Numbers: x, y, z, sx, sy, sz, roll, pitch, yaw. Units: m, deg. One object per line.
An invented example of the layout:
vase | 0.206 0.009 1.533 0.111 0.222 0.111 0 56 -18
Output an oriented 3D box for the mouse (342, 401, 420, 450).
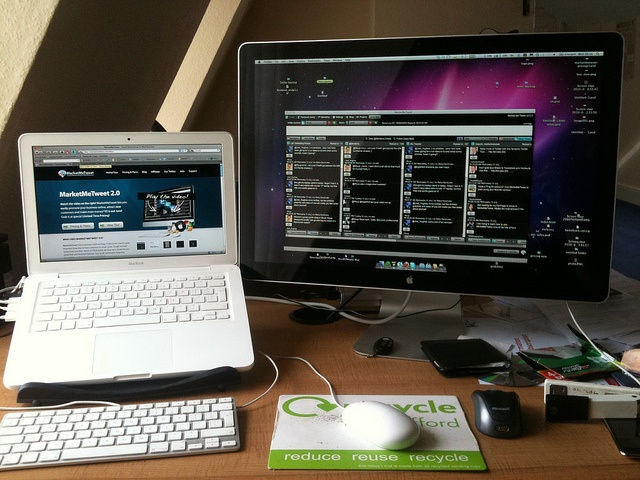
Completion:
mouse | 0.118 0.297 0.818 0.068 0.029 0.094 -13 5 7

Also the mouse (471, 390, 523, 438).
mouse | 0.296 0.272 0.863 0.074 0.035 0.125 -4 15 11

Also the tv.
tv | 0.222 -0.153 1.027 0.594 0.375 0.045 2 3 8

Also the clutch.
clutch | 0.280 0.227 1.007 0.144 0.030 0.107 -2 15 -9

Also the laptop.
laptop | -0.361 0.081 1.154 0.542 0.391 0.478 -3 45 -8
